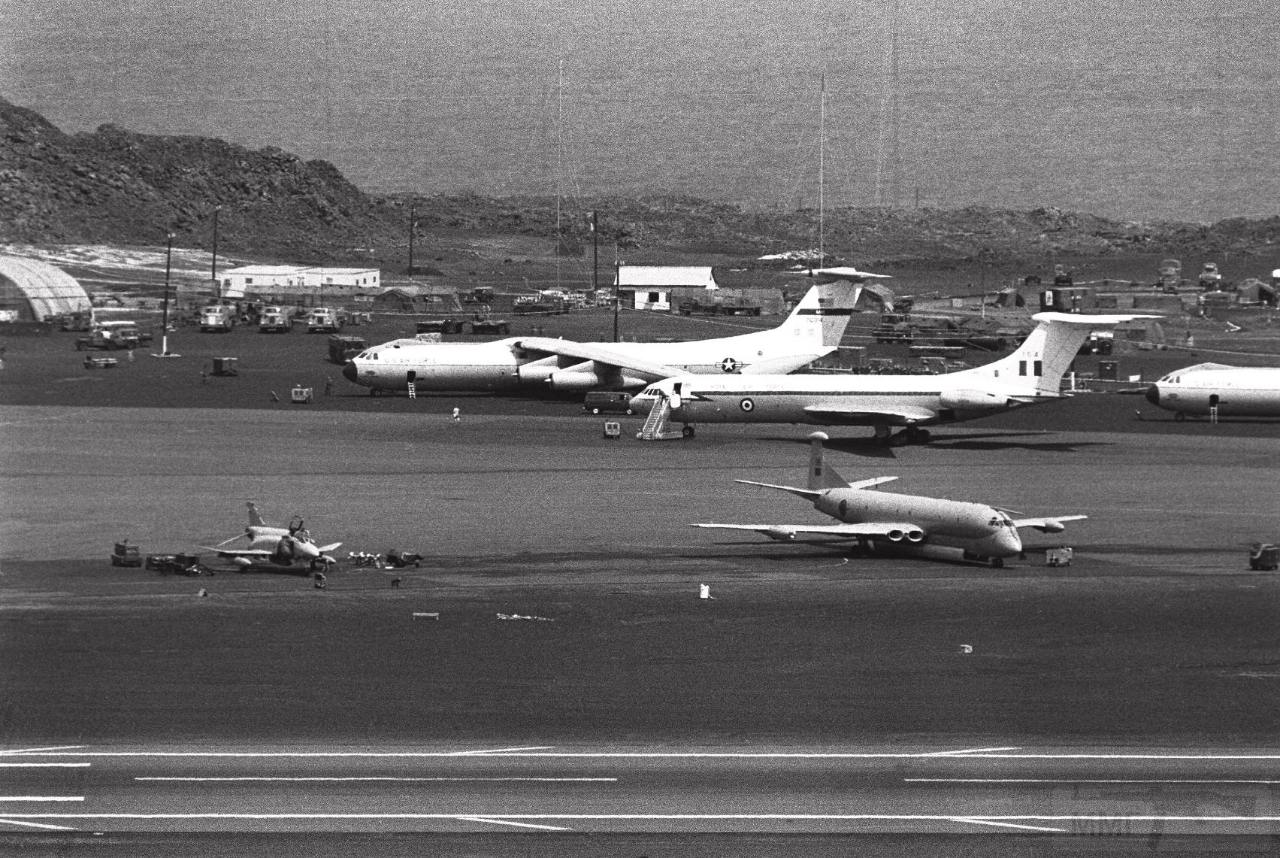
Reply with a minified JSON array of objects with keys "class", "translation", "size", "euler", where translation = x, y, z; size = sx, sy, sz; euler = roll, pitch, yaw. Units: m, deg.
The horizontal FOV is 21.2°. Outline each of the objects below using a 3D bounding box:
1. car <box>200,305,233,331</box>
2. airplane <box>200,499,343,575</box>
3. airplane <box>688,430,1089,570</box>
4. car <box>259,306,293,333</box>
[{"class":"car","translation":[-20.746,-5.312,167.293],"size":[1.150,0.778,1.795],"euler":[-1,-2,-8]},{"class":"airplane","translation":[-12.345,3.558,114.320],"size":[4.667,2.040,3.206],"euler":[0,9,2]},{"class":"airplane","translation":[8.924,2.632,116.475],"size":[9.134,2.390,10.188],"euler":[11,1,41]},{"class":"car","translation":[-17.865,-5.322,167.353],"size":[1.157,0.784,1.773],"euler":[1,8,-1]}]
